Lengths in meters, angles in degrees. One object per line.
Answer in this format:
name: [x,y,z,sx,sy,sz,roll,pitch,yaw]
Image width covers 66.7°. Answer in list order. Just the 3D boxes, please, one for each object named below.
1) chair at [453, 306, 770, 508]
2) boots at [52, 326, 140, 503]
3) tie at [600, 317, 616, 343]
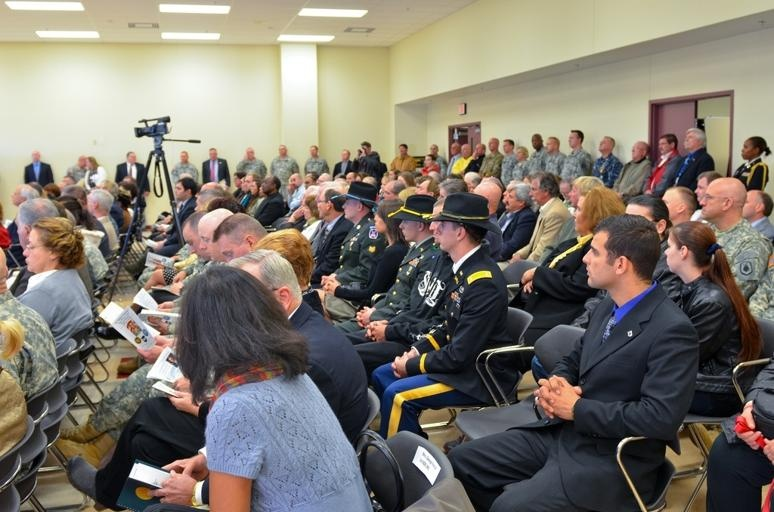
chair: [1.296,0.875,3.356,1.736,1.027,0.771,3,11,11]
boots: [-1.680,0.939,3.557,0.424,0.939,0.306,35,3,-26]
tie: [1.073,0.348,2.839,0.052,0.103,0.115,6,12,21]
